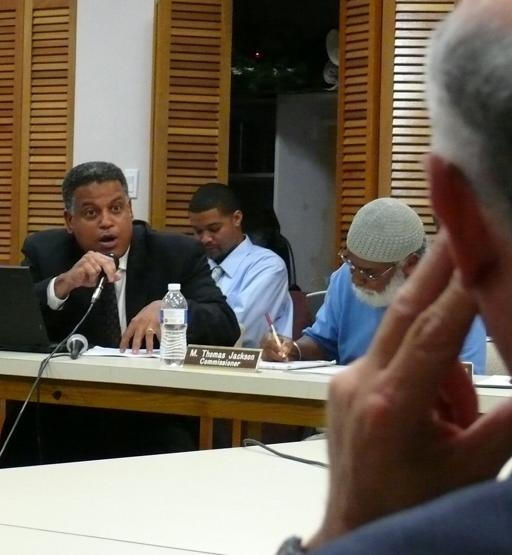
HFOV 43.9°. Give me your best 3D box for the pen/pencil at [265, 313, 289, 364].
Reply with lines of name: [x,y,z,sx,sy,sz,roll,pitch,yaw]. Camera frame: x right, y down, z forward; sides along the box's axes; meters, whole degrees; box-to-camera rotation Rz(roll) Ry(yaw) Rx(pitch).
pen/pencil: [0.075,0.225,2.306,0.018,0.160,0.021,-24,-21,20]

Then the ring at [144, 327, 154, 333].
ring: [-0.311,0.153,1.853,0.013,0.014,0.013,1,-5,0]

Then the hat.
hat: [0.470,-0.158,2.171,0.308,0.202,0.267,-6,10,-11]

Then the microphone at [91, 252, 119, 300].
microphone: [-0.460,-0.003,1.938,0.036,0.043,0.162,15,49,3]

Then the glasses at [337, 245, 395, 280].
glasses: [0.399,-0.036,2.161,0.114,0.040,0.118,4,20,-37]

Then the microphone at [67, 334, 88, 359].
microphone: [-0.481,0.190,1.735,0.050,0.060,0.065,5,19,-5]
